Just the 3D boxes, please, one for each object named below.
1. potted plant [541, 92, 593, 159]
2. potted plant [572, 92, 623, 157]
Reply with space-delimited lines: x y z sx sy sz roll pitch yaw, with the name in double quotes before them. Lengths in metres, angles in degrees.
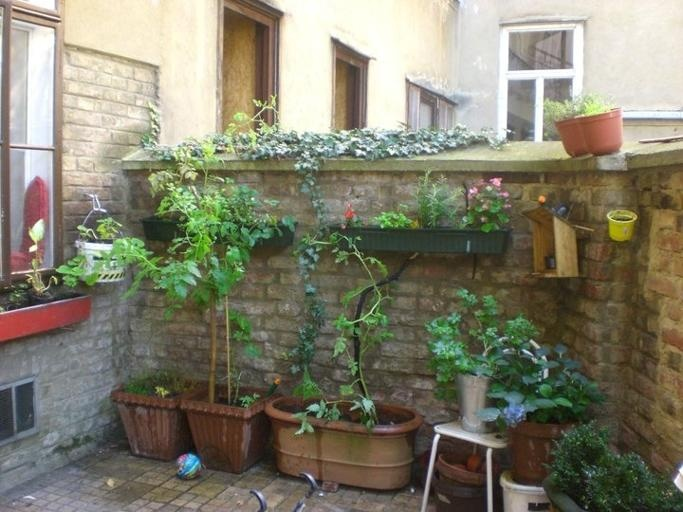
"potted plant" 1.535 -0.795 3.876 0.284 0.307 0.245 -13 -8 -11
"potted plant" 1.648 -0.842 3.736 0.261 0.381 0.306 -14 6 17
